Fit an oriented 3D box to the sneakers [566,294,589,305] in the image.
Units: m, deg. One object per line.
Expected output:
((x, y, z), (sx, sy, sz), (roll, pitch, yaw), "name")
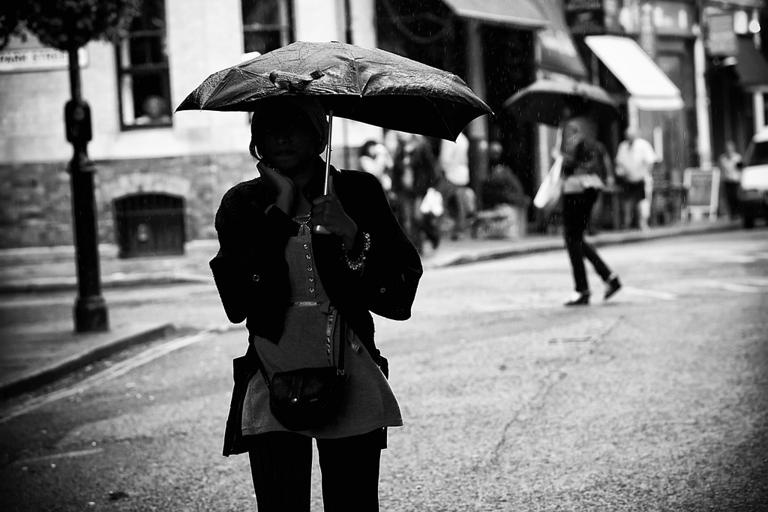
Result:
((1.720, 0.395, 8.292), (0.202, 0.147, 0.076), (0, -7, 33), "sneakers")

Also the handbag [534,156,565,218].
((1.542, -0.649, 8.803), (0.241, 0.651, 0.886), (0, 12, 9), "handbag")

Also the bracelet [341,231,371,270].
((-0.145, -0.027, 5.072), (0.122, 0.216, 0.073), (1, 0, -1), "bracelet")

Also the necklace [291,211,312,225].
((-0.453, -0.205, 5.113), (0.078, 0.066, 0.027), (-2, -24, -6), "necklace")

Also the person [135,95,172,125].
((-4.011, -2.501, 16.130), (0.678, 0.451, 0.571), (-9, 13, -29), "person")

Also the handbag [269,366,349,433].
((-0.413, 0.754, 4.970), (0.328, 0.317, 0.173), (-17, -37, 7), "handbag")
